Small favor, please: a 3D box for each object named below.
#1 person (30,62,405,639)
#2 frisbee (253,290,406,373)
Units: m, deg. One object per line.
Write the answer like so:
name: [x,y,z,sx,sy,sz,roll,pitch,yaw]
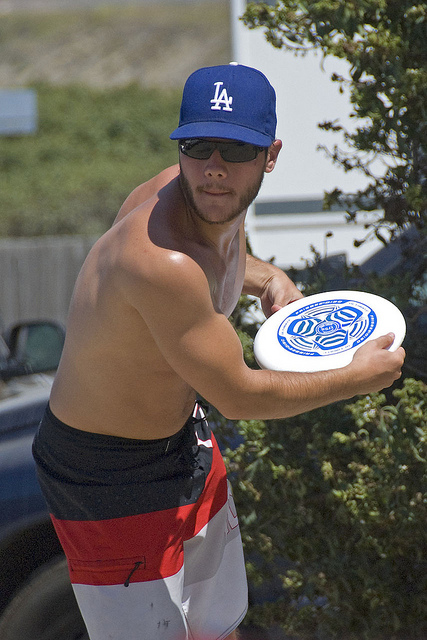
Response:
person: [-0.081,0.183,2.999,0.858,1.925,0.570,-12,21,-29]
frisbee: [0.408,0.068,3.309,0.528,0.105,0.477,-6,32,15]
